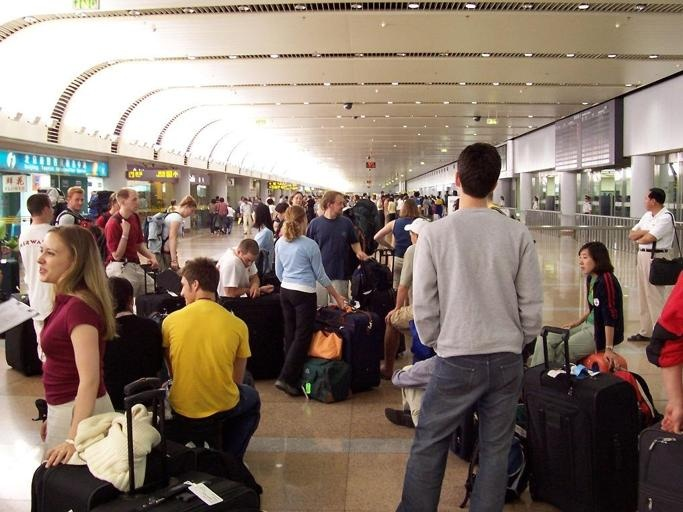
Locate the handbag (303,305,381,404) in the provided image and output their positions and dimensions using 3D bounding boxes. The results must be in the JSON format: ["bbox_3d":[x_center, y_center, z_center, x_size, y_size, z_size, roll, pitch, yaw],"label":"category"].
[{"bbox_3d":[-0.065,1.005,5.774,0.823,0.932,0.945,1,-1,-21],"label":"handbag"}]
